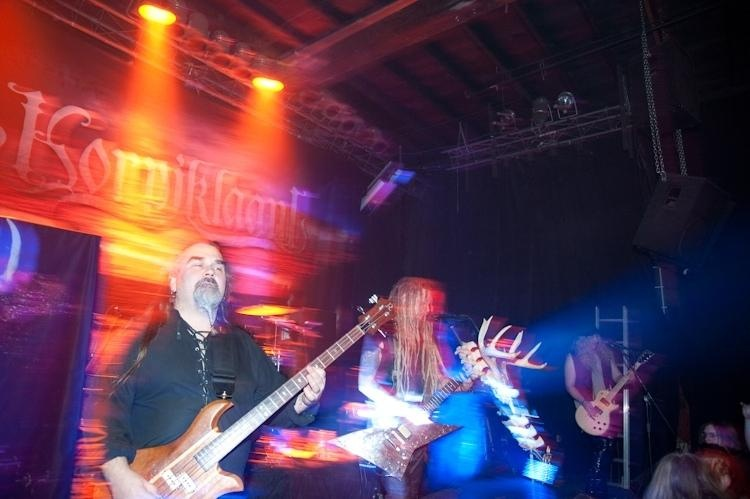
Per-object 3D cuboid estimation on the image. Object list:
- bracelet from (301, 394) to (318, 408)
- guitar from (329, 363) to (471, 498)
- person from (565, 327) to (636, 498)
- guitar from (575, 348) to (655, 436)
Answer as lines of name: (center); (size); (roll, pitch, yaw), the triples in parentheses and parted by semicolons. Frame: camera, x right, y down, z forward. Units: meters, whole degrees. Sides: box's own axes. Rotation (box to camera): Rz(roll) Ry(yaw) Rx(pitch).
bracelet: (-0.641, 1.503, 5.461); (0.133, 0.122, 0.134); (43, -37, -8)
guitar: (0.382, 1.991, 6.355); (0.720, 1.321, 1.316); (48, -14, 19)
person: (3.467, 2.507, 8.547); (0.923, 2.282, 0.286); (26, -27, -25)
guitar: (4.013, 2.177, 8.988); (0.759, 2.067, 0.195); (18, -50, 28)
